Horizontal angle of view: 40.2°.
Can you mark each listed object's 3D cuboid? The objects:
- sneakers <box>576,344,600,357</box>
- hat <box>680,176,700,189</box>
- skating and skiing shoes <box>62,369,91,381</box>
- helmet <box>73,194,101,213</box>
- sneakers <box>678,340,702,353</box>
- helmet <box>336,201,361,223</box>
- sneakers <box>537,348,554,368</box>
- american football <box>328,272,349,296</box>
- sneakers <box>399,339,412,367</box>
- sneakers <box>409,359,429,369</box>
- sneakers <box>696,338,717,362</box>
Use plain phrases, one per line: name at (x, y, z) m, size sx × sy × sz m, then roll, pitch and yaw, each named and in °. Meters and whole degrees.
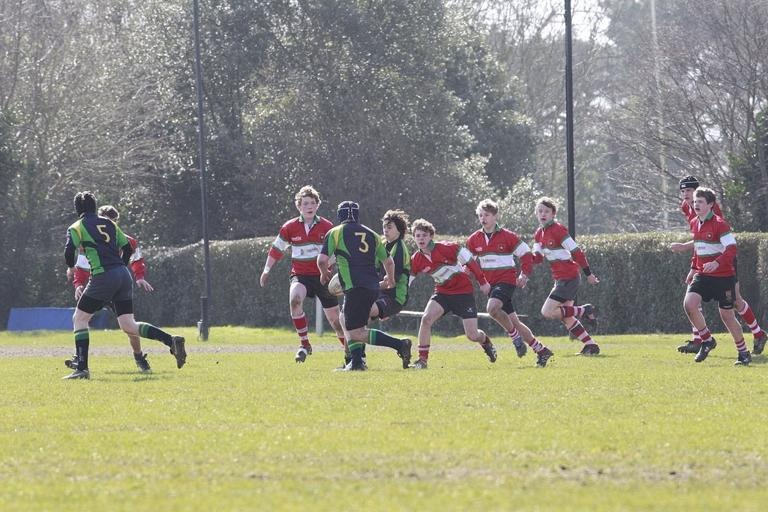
sneakers at (4.735, 2.151, 24.221) m, size 0.550 × 0.275 × 0.205 m, roll 6°, pitch -13°, yaw -26°
hat at (6.805, -1.634, 23.359) m, size 0.374 × 0.326 × 0.308 m, roll 12°, pitch -15°, yaw -40°
skating and skiing shoes at (-6.253, 2.384, 21.204) m, size 0.561 × 0.243 × 0.213 m, roll -2°, pitch -16°, yaw 11°
helmet at (-6.048, -1.072, 21.250) m, size 0.332 × 0.433 × 0.408 m, roll -2°, pitch 5°, yaw -24°
sneakers at (6.963, 2.032, 23.765) m, size 0.551 × 0.285 × 0.204 m, roll -2°, pitch 3°, yaw 42°
helmet at (-0.729, -0.895, 21.322) m, size 0.383 × 0.451 × 0.438 m, roll 1°, pitch 4°, yaw -8°
sneakers at (3.408, 2.122, 22.171) m, size 0.243 × 0.200 × 0.560 m, roll -4°, pitch -30°, yaw -4°
american football at (-0.990, 0.596, 21.441) m, size 0.418 × 0.263 × 0.345 m, roll -26°, pitch 7°, yaw 16°
sneakers at (0.424, 1.965, 21.886) m, size 0.270 × 0.645 × 0.207 m, roll -15°, pitch 18°, yaw -30°
sneakers at (0.802, 2.277, 22.229) m, size 0.157 × 0.171 × 0.357 m, roll -8°, pitch -18°, yaw 38°
sneakers at (7.028, 2.023, 22.884) m, size 0.140 × 0.431 × 0.196 m, roll 33°, pitch 6°, yaw 24°
